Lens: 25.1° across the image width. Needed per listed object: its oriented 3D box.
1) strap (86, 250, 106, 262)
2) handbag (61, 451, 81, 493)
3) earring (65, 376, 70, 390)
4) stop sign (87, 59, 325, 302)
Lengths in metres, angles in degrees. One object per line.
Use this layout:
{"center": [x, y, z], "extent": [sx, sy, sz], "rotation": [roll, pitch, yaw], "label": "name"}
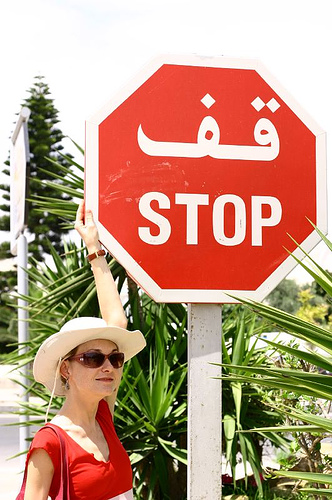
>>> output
{"center": [-0.283, 0.016, 3.001], "extent": [0.049, 0.050, 0.046], "rotation": [37, -25, -24], "label": "strap"}
{"center": [-0.310, 0.712, 2.368], "extent": [0.031, 0.105, 0.069], "rotation": [-5, 4, 24], "label": "handbag"}
{"center": [-0.352, 0.472, 2.643], "extent": [0.015, 0.039, 0.066], "rotation": [-8, 4, -15], "label": "earring"}
{"center": [0.141, -0.269, 3.050], "extent": [1.056, 0.979, 0.105], "rotation": [-1, -1, -10], "label": "stop sign"}
